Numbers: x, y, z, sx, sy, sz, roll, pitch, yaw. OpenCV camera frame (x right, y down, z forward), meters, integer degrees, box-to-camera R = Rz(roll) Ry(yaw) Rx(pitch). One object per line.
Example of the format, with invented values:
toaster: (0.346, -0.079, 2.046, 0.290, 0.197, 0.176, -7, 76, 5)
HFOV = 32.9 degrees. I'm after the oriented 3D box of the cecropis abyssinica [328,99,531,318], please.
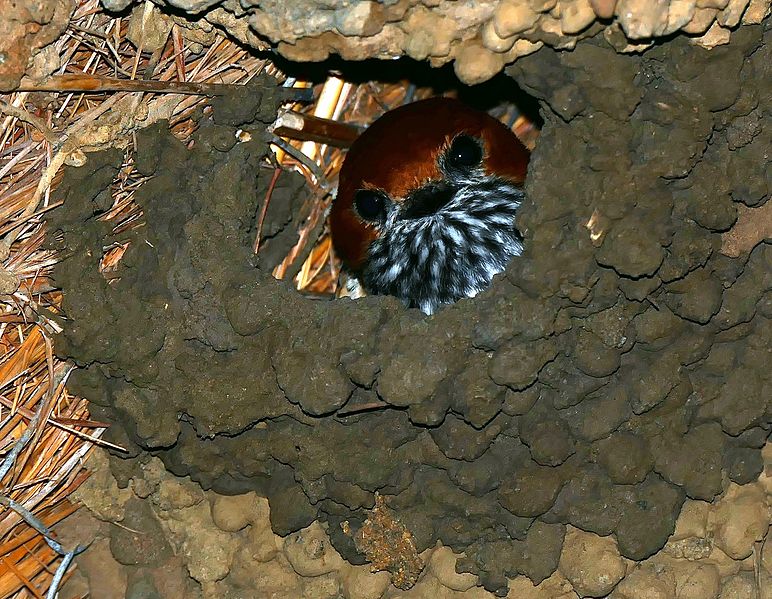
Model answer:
cecropis abyssinica: (0.200, -0.413, 5.745, 0.752, 0.986, 0.257, 3, 6, 11)
